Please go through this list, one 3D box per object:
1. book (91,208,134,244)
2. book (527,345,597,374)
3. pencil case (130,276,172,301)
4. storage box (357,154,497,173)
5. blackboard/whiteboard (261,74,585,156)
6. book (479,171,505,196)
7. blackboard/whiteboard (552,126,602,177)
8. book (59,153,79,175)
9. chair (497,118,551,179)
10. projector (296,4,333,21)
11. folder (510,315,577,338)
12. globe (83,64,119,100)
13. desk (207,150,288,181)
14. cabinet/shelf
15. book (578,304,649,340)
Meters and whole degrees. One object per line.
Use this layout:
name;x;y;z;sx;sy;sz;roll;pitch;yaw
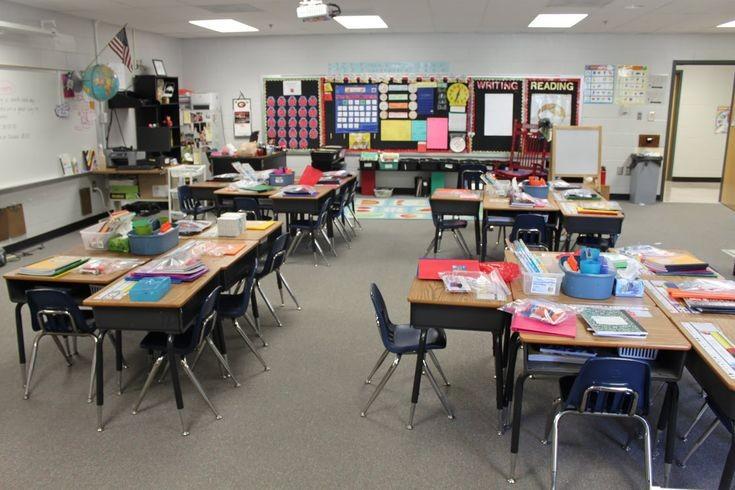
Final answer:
book;-2.623;-0.197;5.476;0.257;0.134;0.381;-1;20;5
book;1.424;0.867;4.030;0.301;0.068;0.279;1;13;6
pencil case;-1.814;0.368;4.377;0.194;0.089;0.249;1;16;0
storage box;1.339;-1.829;11.848;3.089;0.443;0.601;1;16;4
blackboard/whiteboard;0.972;-2.951;11.824;6.737;1.659;0.131;2;16;6
book;1.886;-0.903;7.824;0.336;0.165;0.490;2;14;7
blackboard/whiteboard;3.592;-1.589;9.100;0.894;0.877;0.340;-1;5;1
book;-5.113;-1.383;9.039;0.074;0.281;0.277;0;20;17
chair;3.221;-1.949;10.816;0.953;1.092;1.658;6;16;19
projector;-0.667;-2.944;6.625;0.380;0.208;0.384;-1;15;-3
folder;1.312;0.609;3.916;0.227;0.053;0.234;4;14;8
globe;-4.249;-2.580;8.577;0.573;0.614;0.569;2;4;3
desk;-2.132;-1.414;9.371;0.796;0.544;0.450;2;20;7
cabinet/shelf;-4.188;-2.525;10.527;0.865;1.699;1.349;-5;17;-18
book;1.846;0.580;4.009;0.426;0.091;0.397;1;15;1
